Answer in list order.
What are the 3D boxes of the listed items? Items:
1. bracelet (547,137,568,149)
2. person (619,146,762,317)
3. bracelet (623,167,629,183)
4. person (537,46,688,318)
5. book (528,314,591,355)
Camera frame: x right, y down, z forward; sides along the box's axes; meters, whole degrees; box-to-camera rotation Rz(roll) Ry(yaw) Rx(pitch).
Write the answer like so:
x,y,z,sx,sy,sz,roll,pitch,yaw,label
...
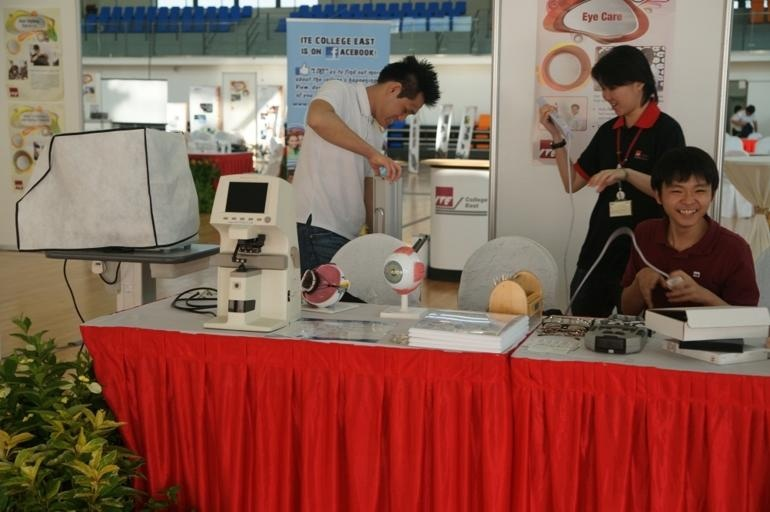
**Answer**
x,y,z,sx,sy,sz,roll,pitch,yaw,label
1.017,-0.656,3.948,0.076,0.051,0.076,-5,0,38,bracelet
1.308,0.012,3.008,0.511,1.000,0.560,-8,11,-36,person
1.329,-0.453,3.731,0.036,0.053,0.017,-2,-4,12,bracelet
1.307,-0.139,3.951,0.641,2.005,0.768,-16,17,-41,person
0.688,0.316,2.680,0.132,0.059,0.236,2,16,19,book
